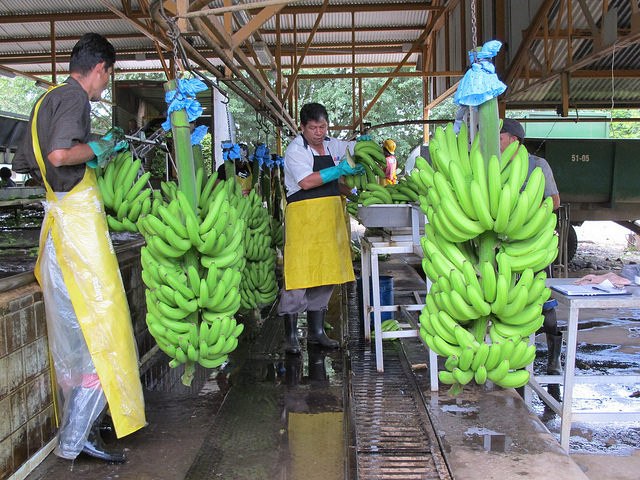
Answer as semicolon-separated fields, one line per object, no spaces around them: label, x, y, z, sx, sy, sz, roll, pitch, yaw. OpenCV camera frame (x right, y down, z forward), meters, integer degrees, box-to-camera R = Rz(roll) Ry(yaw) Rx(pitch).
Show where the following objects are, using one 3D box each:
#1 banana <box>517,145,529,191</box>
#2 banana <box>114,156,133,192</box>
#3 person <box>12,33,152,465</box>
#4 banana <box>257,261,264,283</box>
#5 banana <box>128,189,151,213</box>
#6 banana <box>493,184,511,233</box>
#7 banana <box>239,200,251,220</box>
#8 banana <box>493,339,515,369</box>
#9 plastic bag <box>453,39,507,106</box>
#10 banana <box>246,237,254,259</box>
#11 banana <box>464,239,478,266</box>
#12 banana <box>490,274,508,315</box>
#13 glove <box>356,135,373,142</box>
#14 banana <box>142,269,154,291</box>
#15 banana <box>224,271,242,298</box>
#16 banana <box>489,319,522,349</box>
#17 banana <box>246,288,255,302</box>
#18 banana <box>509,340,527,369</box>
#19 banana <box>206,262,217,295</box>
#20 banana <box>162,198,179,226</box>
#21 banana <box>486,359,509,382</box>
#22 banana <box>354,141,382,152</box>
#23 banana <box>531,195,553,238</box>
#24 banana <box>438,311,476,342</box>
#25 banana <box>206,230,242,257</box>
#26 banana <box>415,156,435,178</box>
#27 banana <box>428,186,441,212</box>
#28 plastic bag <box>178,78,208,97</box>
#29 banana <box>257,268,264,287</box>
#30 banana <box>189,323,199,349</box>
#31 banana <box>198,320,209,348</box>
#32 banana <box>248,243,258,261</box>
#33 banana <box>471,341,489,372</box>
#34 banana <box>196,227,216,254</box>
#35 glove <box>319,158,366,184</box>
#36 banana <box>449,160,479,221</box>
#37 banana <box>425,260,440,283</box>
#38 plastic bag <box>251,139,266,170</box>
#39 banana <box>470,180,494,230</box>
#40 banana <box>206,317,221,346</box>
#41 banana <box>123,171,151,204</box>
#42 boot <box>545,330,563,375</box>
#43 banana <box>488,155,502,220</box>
banana;1.012;-0.365;2.615;0.051;0.210;0.065;2;-2;-24
banana;-1.251;-0.446;3.437;0.057;0.259;0.081;23;-28;-21
person;-1.491;0.074;3.306;0.672;2.696;0.487;-2;9;-7
banana;-0.585;0.313;5.233;0.042;0.212;0.055;2;-6;-37
banana;-1.125;-0.244;3.286;0.157;0.042;0.053;-42;-8;-3
banana;0.868;-0.149;2.501;0.067;0.237;0.090;-1;10;-4
banana;-0.705;-0.289;4.971;0.052;0.197;0.061;18;0;-13
banana;0.891;0.528;2.548;0.044;0.174;0.060;28;-23;3
plastic bag;0.753;-0.810;2.515;0.169;0.275;0.203;-2;0;-35
banana;-0.664;0.073;5.091;0.044;0.207;0.053;11;0;12
banana;0.767;0.064;2.682;0.024;0.132;0.034;-18;-7;-40
banana;0.859;0.258;2.523;0.047;0.197;0.074;-4;10;-20
glove;0.383;-0.931;4.747;0.101;0.044;0.121;-7;9;-25
banana;-0.971;0.248;2.991;0.051;0.151;0.040;-6;17;10
banana;-0.514;0.260;3.044;0.048;0.066;0.188;25;-39;-14
banana;0.879;0.476;2.607;0.188;0.138;0.064;14;-11;0
banana;-0.678;0.538;5.193;0.039;0.152;0.051;3;40;37
banana;0.960;0.548;2.558;0.035;0.138;0.048;19;11;-3
banana;-0.598;0.218;2.909;0.044;0.186;0.060;10;25;6
banana;-0.796;-0.184;2.877;0.056;0.198;0.068;20;-13;-24
banana;0.857;0.623;2.540;0.113;0.086;0.037;-40;12;17
banana;0.428;-0.837;4.626;0.130;0.045;0.122;8;0;-40
banana;1.098;-0.122;2.600;0.031;0.144;0.046;20;4;-24
banana;0.667;0.424;2.592;0.173;0.047;0.058;47;27;20
banana;-0.541;0.019;2.935;0.154;0.030;0.052;-49;28;-11
banana;0.564;-0.413;2.879;0.046;0.062;0.190;-12;48;-9
banana;0.571;-0.207;2.640;0.032;0.122;0.041;-9;-10;-2
plastic bag;-0.676;-0.816;2.797;0.143;0.097;0.234;-3;11;-14
banana;-0.585;0.370;5.253;0.049;0.189;0.042;-18;28;-34
banana;-0.695;0.531;2.902;0.055;0.182;0.051;-21;40;-38
banana;-0.646;0.527;2.924;0.063;0.139;0.048;-1;10;-3
banana;-0.646;0.116;5.140;0.032;0.136;0.098;9;17;27
banana;0.754;0.577;2.574;0.047;0.180;0.063;30;44;11
banana;-0.618;-0.008;2.854;0.041;0.099;0.130;16;-47;-29
glove;0.200;-0.601;4.491;0.384;0.207;0.178;-7;12;-29
banana;0.698;-0.233;2.559;0.055;0.288;0.092;-19;1;-16
banana;0.573;0.160;2.693;0.039;0.116;0.030;-29;-5;19
plastic bag;-0.653;-0.916;5.739;0.103;0.254;0.312;-3;11;-11
banana;0.784;-0.182;2.626;0.108;0.140;0.415;-15;-14;8
banana;-0.588;0.514;2.925;0.049;0.201;0.064;2;17;-34
banana;-1.162;-0.330;3.338;0.084;0.256;0.053;39;-3;-25
boot;1.973;0.964;4.445;0.136;0.358;0.185;4;11;24
banana;0.828;-0.251;2.512;0.056;0.304;0.072;0;-1;16
